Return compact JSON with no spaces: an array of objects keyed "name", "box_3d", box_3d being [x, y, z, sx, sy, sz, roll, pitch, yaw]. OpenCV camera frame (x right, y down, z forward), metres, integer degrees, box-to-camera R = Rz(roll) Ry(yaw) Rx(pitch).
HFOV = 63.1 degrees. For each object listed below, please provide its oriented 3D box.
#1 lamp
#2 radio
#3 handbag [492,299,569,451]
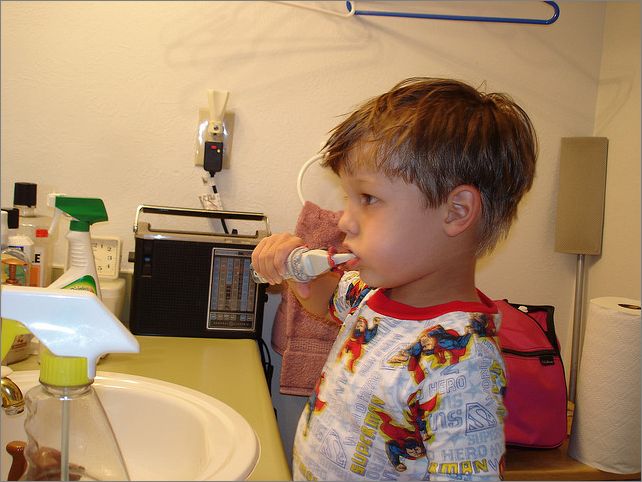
[{"name":"lamp","box_3d":[0.763,0.138,1.538,0.150,0.894,0.148,-14,17,-29]},{"name":"radio","box_3d":[-0.296,0.048,1.249,0.355,0.306,0.241,2,9,-20]},{"name":"handbag","box_3d":[0.498,0.321,1.326,0.219,0.340,0.251,3,-2,-4]}]
